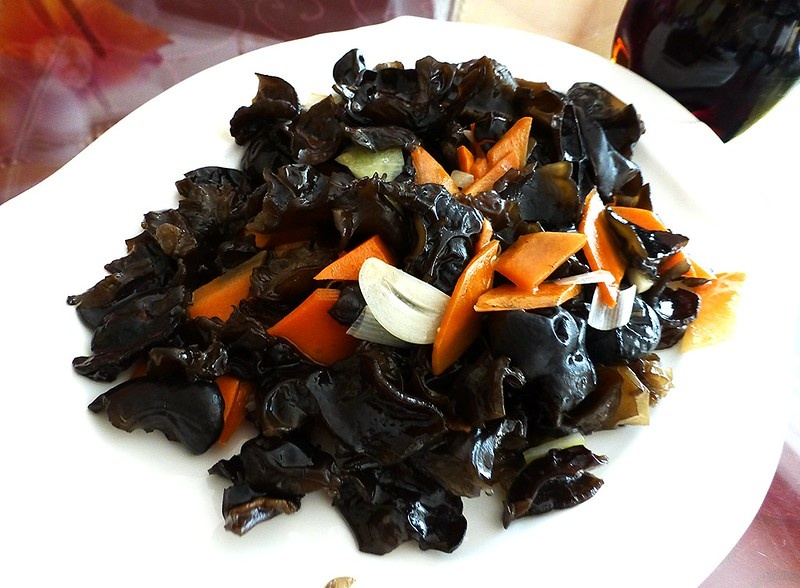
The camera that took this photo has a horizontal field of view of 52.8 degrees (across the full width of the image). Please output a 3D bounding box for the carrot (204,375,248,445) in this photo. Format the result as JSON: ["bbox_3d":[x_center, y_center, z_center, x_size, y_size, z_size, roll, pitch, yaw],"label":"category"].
[{"bbox_3d":[-0.388,0.254,1.829,0.093,0.033,0.131,8,84,-38],"label":"carrot"}]

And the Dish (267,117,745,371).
[{"bbox_3d":[0.338,-0.017,1.862,0.766,0.219,0.663,8,41,1],"label":"Dish"}]
